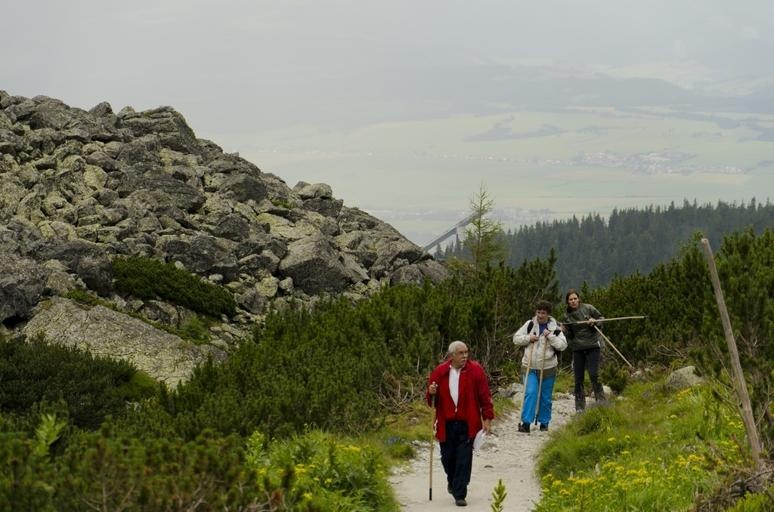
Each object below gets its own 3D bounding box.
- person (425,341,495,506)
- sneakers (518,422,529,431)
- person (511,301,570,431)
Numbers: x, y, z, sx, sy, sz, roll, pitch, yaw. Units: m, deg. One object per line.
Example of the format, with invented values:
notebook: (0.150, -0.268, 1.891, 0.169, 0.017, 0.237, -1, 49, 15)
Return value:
person: (1.635, 3.652, 18.647, 1.371, 3.621, 0.910, -1, 0, 2)
sneakers: (3.639, 4.535, 22.132, 0.238, 0.256, 0.213, 2, 5, 5)
person: (4.013, 2.931, 21.961, 1.180, 3.406, 0.573, -1, 0, 12)
